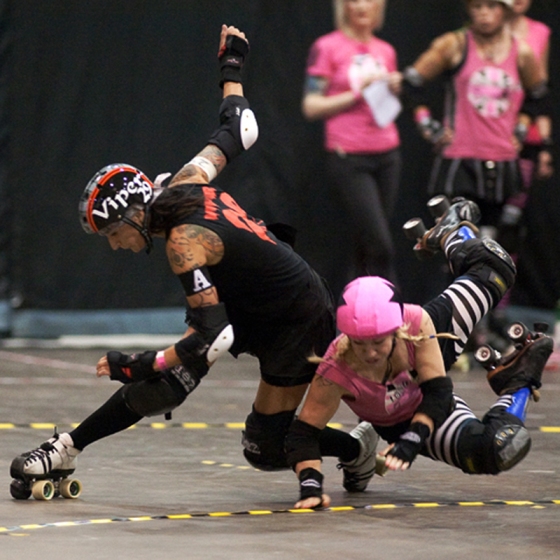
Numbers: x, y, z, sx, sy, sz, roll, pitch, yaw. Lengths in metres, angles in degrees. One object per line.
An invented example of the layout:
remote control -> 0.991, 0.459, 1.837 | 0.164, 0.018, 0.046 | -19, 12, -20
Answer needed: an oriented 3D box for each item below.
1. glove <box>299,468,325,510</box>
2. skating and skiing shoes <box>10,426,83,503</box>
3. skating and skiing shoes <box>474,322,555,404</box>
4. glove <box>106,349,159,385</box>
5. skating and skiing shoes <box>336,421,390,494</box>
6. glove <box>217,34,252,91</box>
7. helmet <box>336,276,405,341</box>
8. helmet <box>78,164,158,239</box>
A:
glove -> 0.106, 0.686, 2.752 | 0.087, 0.123, 0.139 | 0, -8, 3
skating and skiing shoes -> -0.839, 0.671, 2.943 | 0.175, 0.208, 0.251 | -5, -12, 28
skating and skiing shoes -> 0.952, 0.370, 3.486 | 0.313, 0.164, 0.481 | -28, -14, -11
glove -> -0.504, 0.307, 2.816 | 0.163, 0.097, 0.059 | 1, 18, 2
skating and skiing shoes -> 0.328, 0.694, 3.183 | 0.116, 0.289, 0.156 | 21, 20, 39
glove -> -0.198, -0.943, 3.615 | 0.161, 0.202, 0.088 | 3, 2, -23
helmet -> 0.323, 0.086, 2.735 | 0.235, 0.206, 0.290 | 0, -6, 18
helmet -> -0.622, -0.285, 2.926 | 0.265, 0.219, 0.323 | 10, 18, 31
